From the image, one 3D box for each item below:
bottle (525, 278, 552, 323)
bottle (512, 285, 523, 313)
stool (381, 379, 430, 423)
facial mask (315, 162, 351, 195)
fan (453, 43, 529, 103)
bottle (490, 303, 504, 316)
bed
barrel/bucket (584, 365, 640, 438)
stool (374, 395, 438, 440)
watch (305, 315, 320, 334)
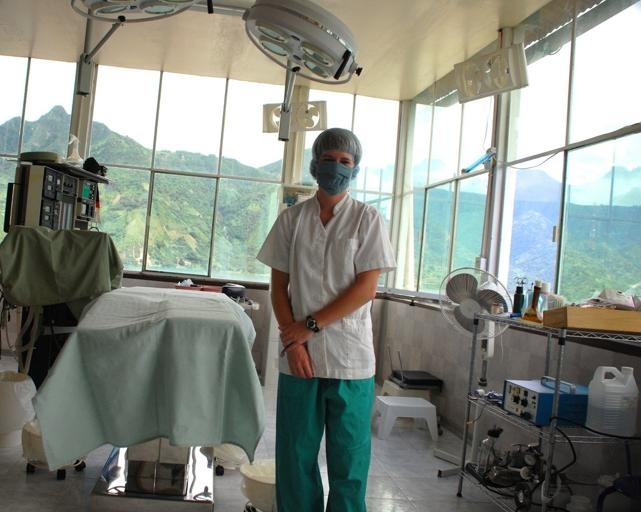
[{"bbox_3d":[1.222,0.253,2.826,0.115,0.245,0.259,6,0,25],"label":"bottle"},{"bbox_3d":[1.206,0.266,3.043,0.059,0.175,0.229,6,0,22],"label":"bottle"},{"bbox_3d":[0.812,1.368,4.760,0.350,0.181,0.366,2,0,-12],"label":"stool"},{"bbox_3d":[0.049,-0.331,2.163,0.121,0.133,0.144,3,3,0],"label":"facial mask"},{"bbox_3d":[1.325,-1.432,3.940,0.222,0.426,0.589,6,0,-33],"label":"fan"},{"bbox_3d":[1.105,0.337,3.134,0.056,0.076,0.079,1,1,-7],"label":"bottle"},{"bbox_3d":[-0.720,0.530,2.102,0.670,0.447,0.896,4,-7,-10],"label":"bed"},{"bbox_3d":[1.539,0.757,2.627,0.233,0.382,0.118,6,0,21],"label":"barrel/bucket"},{"bbox_3d":[0.705,1.312,4.240,0.389,0.233,0.400,0,-1,-9],"label":"stool"},{"bbox_3d":[-0.036,0.276,2.061,0.070,0.045,0.066,51,-11,16],"label":"watch"}]
